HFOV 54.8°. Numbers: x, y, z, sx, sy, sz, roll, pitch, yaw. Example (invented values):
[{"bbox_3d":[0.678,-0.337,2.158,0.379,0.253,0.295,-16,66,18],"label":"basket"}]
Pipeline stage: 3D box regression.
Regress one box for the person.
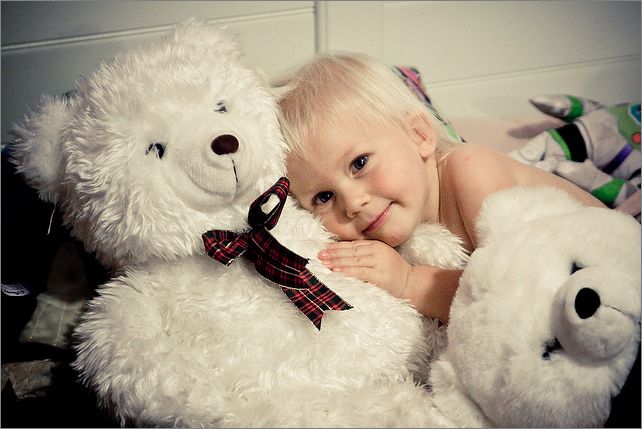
[{"bbox_3d":[0.364,-0.170,2.073,1.236,0.547,0.893,10,32,-1],"label":"person"}]
